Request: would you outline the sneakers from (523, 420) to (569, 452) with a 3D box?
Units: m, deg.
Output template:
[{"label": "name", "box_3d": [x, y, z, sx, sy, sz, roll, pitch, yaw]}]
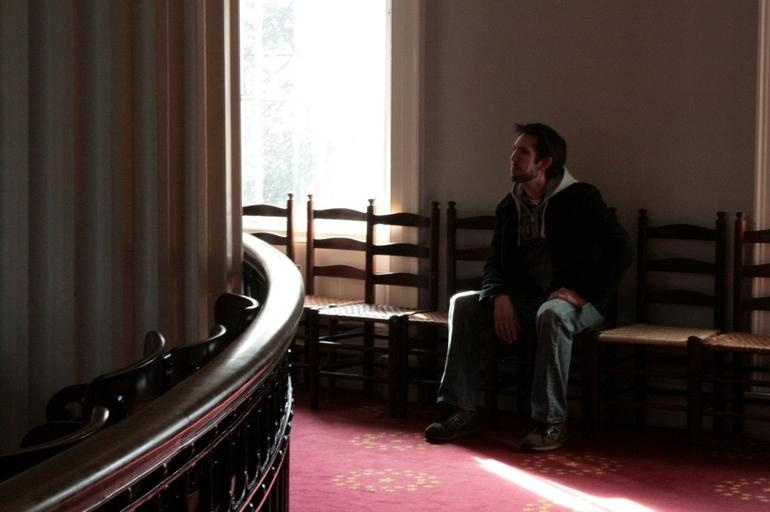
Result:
[{"label": "sneakers", "box_3d": [0.817, 0.902, 3.362, 0.251, 0.113, 0.100, 2, -3, -43]}]

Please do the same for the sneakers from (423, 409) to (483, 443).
[{"label": "sneakers", "box_3d": [0.355, 0.882, 3.517, 0.308, 0.132, 0.116, -2, 0, -30]}]

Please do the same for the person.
[{"label": "person", "box_3d": [0.795, 0.131, 3.575, 0.991, 1.678, 0.713, 1, 3, 16]}]
